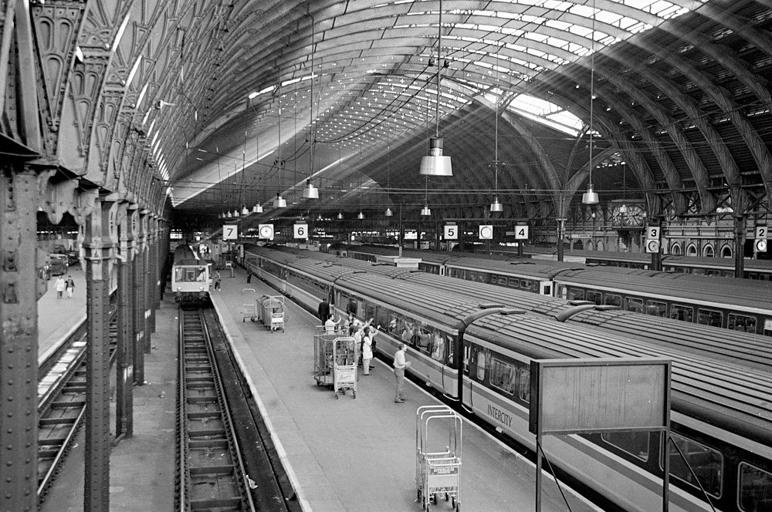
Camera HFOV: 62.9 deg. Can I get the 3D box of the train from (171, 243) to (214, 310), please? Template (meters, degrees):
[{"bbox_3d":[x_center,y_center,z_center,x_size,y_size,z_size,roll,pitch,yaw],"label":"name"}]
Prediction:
[{"bbox_3d":[-17.347,1.429,57.147,2.530,4.068,16.414,-1,5,-9],"label":"train"}]

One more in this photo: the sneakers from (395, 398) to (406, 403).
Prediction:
[{"bbox_3d":[0.533,5.435,23.520,0.446,0.211,0.160,0,4,-3],"label":"sneakers"}]
